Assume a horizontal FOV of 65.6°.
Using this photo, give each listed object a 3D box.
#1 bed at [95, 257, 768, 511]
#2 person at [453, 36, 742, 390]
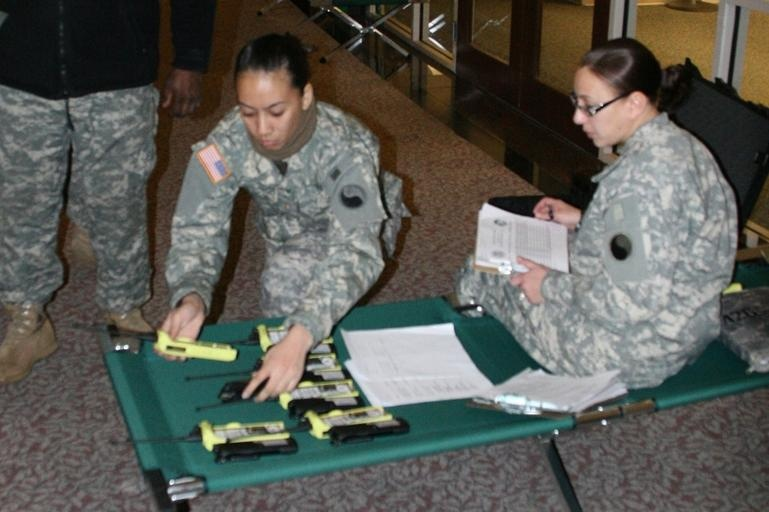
[{"bbox_3d":[0.286,0.433,1.740,1.955,0.257,0.696,-5,35,-12],"label":"bed"},{"bbox_3d":[0.648,-0.166,2.048,0.942,1.043,0.692,16,33,37],"label":"person"}]
